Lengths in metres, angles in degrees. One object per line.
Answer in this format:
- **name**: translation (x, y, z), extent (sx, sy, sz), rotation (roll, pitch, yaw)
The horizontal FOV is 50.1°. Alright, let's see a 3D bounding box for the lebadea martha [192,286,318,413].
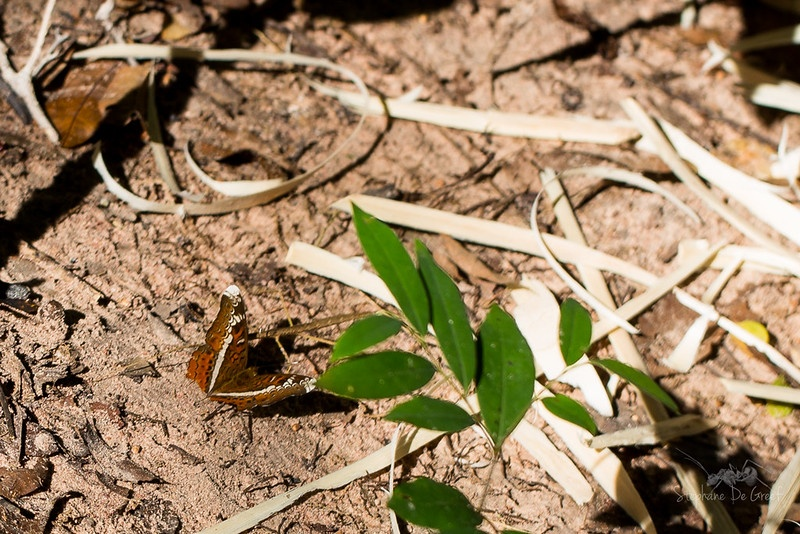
- **lebadea martha**: translation (-0.375, 0.225, 2.078), extent (0.330, 0.195, 0.267), rotation (31, 17, 31)
